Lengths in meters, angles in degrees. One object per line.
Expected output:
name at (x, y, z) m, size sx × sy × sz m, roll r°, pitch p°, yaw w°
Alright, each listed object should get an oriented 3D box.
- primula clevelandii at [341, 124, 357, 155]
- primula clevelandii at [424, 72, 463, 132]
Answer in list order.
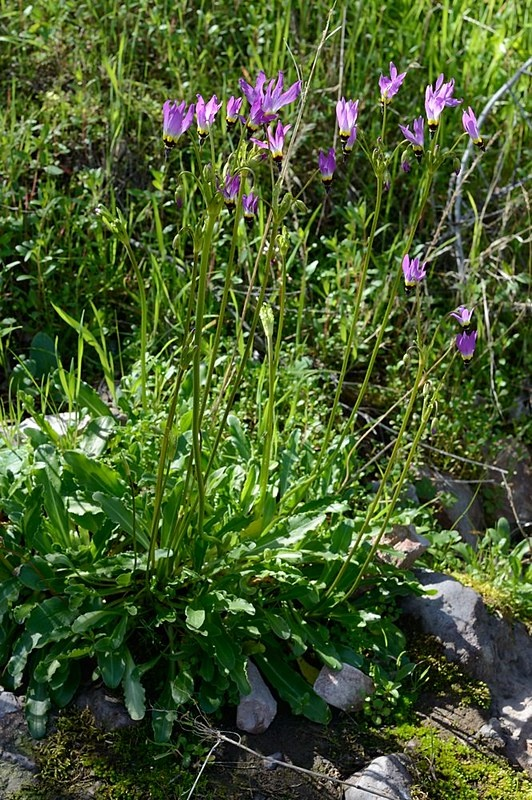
primula clevelandii at (0.204, -0.612, 1.528) m, size 0.024 × 0.034 × 0.111 m, roll 12°, pitch 56°, yaw 19°
primula clevelandii at (0.393, -0.686, 1.509) m, size 0.077 × 0.102 × 0.089 m, roll -8°, pitch 14°, yaw -34°
